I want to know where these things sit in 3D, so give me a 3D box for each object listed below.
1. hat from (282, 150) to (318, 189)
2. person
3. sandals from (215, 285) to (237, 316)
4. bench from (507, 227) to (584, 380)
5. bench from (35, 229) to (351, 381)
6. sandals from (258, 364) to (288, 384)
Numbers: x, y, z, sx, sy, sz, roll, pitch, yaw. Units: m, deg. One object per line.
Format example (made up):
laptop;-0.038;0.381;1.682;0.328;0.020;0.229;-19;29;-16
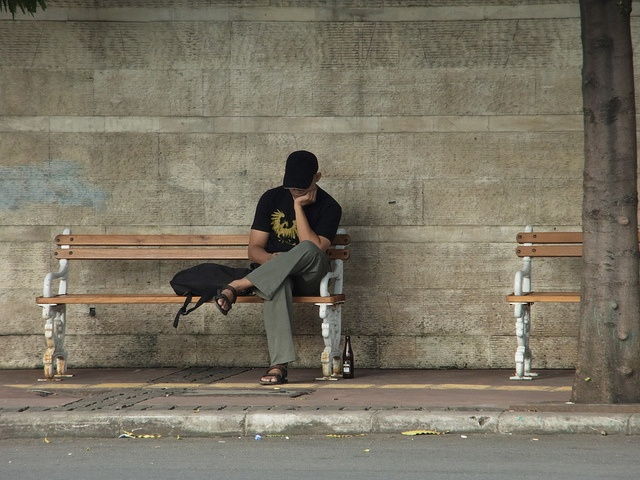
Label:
hat;-0.207;-0.680;12.421;0.310;0.199;0.411;12;39;14
person;-0.364;0.249;12.361;1.031;2.241;0.811;1;-3;7
sandals;-0.907;0.559;12.082;0.140;0.330;0.113;33;-23;-23
bench;2.203;0.610;12.548;0.702;1.497;0.984;1;-3;10
bench;-1.252;0.610;12.710;3.267;1.232;0.906;-2;17;15
sandals;-0.423;1.280;12.062;0.134;0.097;0.287;-2;-8;24
